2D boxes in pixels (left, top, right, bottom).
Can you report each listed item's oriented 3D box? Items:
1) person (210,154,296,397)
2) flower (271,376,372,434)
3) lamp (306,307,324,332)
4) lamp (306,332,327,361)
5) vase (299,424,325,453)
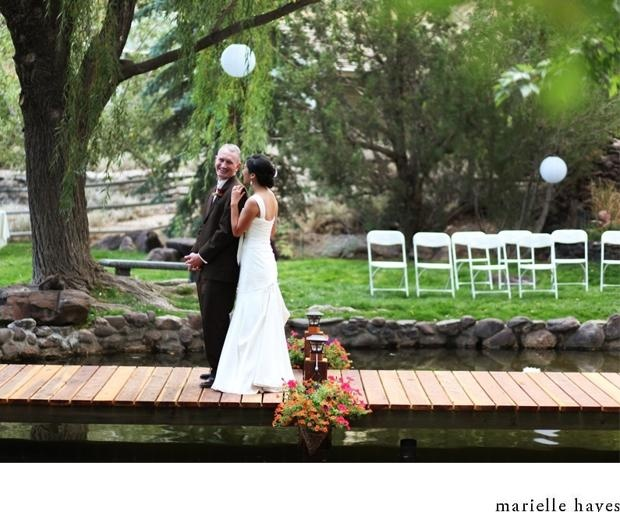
[{"bbox_3d":[-0.577,0.188,11.096,0.809,2.537,0.298,0,6,-3],"label":"person"},{"bbox_3d":[0.120,1.547,10.794,0.649,0.311,0.661,-2,7,-19],"label":"flower"},{"bbox_3d":[0.062,0.704,11.422,0.212,0.267,0.216,1,1,4],"label":"lamp"},{"bbox_3d":[0.075,0.969,11.168,0.245,0.271,0.242,0,14,-2],"label":"lamp"},{"bbox_3d":[0.039,1.885,10.805,0.273,0.322,0.182,1,6,6],"label":"vase"}]
